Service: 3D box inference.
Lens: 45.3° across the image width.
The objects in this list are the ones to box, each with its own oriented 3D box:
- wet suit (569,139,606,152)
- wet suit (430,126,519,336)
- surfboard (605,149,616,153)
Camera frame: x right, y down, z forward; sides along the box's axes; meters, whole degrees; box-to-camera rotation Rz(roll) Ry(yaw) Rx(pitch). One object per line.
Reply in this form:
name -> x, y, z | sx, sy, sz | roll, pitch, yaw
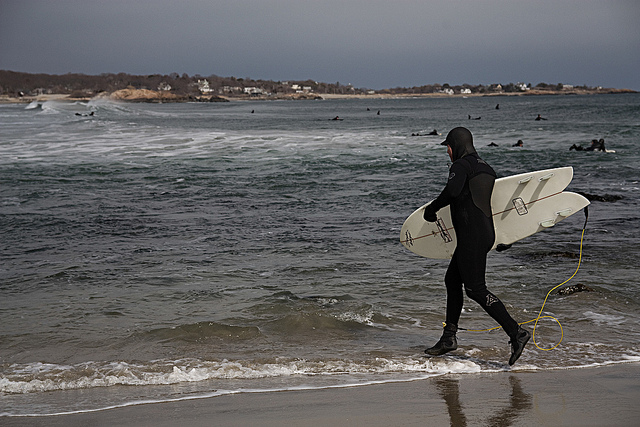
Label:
wet suit -> 11.134, -2.838, 31.657 | 1.189, 0.366, 0.707 | 4, 4, 18
wet suit -> 2.160, 0.323, 10.839 | 0.888, 3.067, 1.137 | -8, 18, -20
surfboard -> 12.032, -2.598, 31.692 | 0.587, 0.091, 0.318 | 3, 4, -40
